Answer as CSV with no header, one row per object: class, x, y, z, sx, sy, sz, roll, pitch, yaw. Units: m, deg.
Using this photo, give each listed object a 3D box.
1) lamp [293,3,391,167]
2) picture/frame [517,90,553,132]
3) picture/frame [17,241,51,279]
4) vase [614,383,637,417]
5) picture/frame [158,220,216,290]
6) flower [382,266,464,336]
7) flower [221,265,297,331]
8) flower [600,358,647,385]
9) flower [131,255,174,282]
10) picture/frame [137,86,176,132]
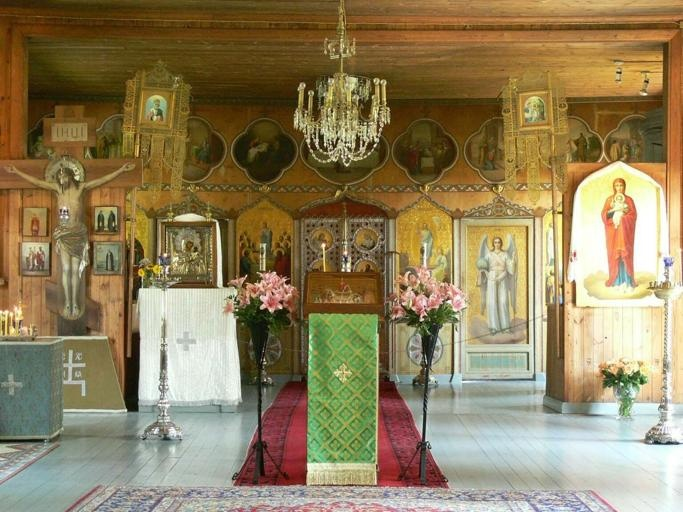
lamp,-0.109,-2.623,13.150,1.770,2.303,5.464,1,6,3
picture/frame,3.032,-2.318,12.969,0.652,0.724,0.073,-1,4,12
picture/frame,-4.585,0.032,12.312,0.554,0.634,0.024,0,-4,-7
vase,4.113,2.016,11.939,0.336,0.486,0.217,-2,6,-20
picture/frame,-2.384,-0.022,12.698,1.045,1.238,0.179,-1,-12,-2
flower,1.004,0.566,9.638,0.825,0.748,0.845,-13,12,1
flower,-0.924,0.547,9.583,0.779,0.581,0.752,2,17,-1
flower,4.050,1.627,11.880,0.453,0.271,0.453,-1,-8,5
flower,-2.820,0.188,12.651,0.639,0.430,0.637,-1,-3,20
picture/frame,-2.867,-2.285,12.638,0.636,0.725,0.076,5,12,-13
